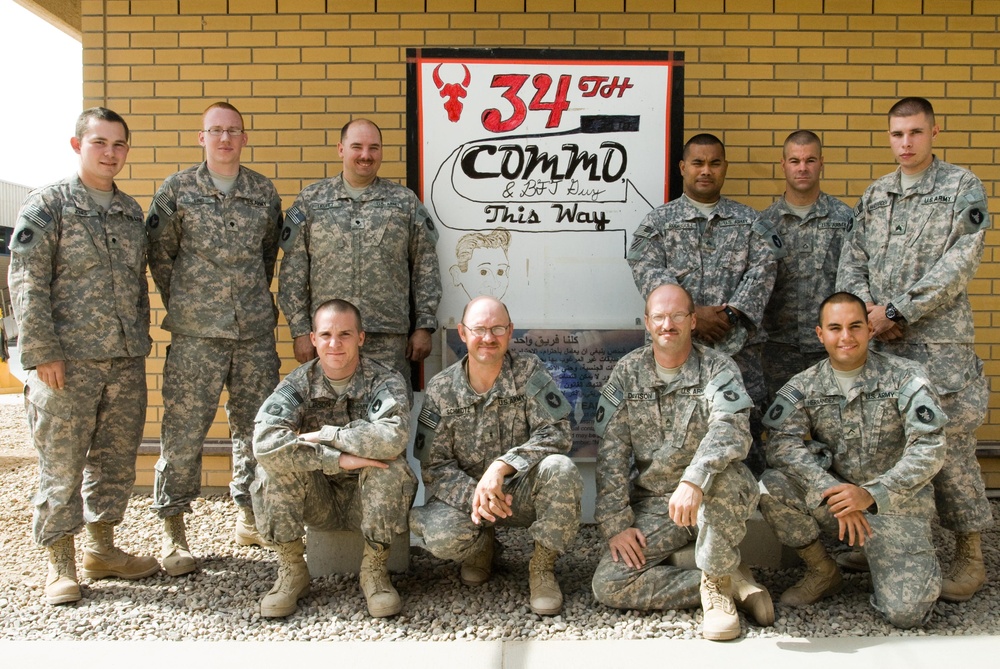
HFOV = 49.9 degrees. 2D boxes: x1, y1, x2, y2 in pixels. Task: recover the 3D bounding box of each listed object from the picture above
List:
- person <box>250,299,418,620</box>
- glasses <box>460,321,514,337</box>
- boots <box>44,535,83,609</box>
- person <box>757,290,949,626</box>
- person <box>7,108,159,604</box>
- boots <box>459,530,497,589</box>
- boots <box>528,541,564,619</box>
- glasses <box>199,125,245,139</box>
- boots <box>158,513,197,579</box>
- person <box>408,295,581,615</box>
[{"bbox_3d":[-1.004,0.741,6.501,0.993,1.849,0.793,1,14,-6],"label":"person"},{"bbox_3d":[-0.083,-0.030,6.527,0.279,0.075,0.104,0,13,-7],"label":"glasses"},{"bbox_3d":[-2.720,1.447,6.653,0.217,0.390,0.293,-3,14,-22],"label":"boots"},{"bbox_3d":[2.141,0.697,6.444,1.136,1.845,0.798,7,14,20],"label":"person"},{"bbox_3d":[-2.566,0.108,6.713,0.881,2.981,0.813,-9,17,-38],"label":"person"},{"bbox_3d":[-0.129,1.438,6.736,0.166,0.280,0.452,7,-2,14],"label":"boots"},{"bbox_3d":[0.284,1.470,6.458,0.212,0.363,0.281,3,13,1],"label":"boots"},{"bbox_3d":[-1.816,-1.327,7.032,0.233,0.075,0.094,-3,14,-21],"label":"glasses"},{"bbox_3d":[-2.098,1.353,6.994,0.239,0.362,0.312,-2,14,-17],"label":"boots"},{"bbox_3d":[-0.017,0.699,6.562,1.062,1.805,0.756,4,14,8],"label":"person"}]
